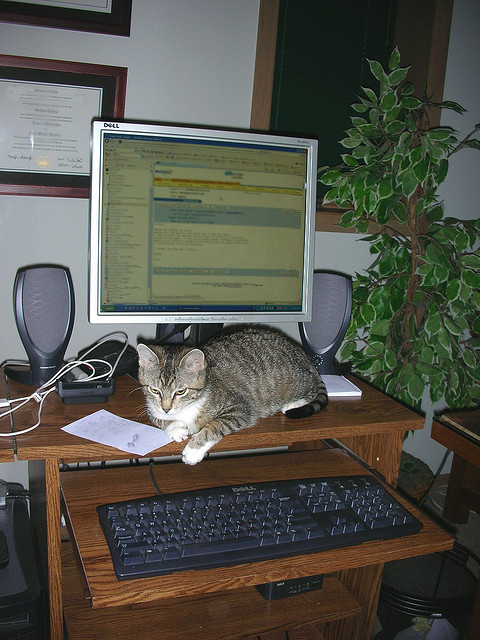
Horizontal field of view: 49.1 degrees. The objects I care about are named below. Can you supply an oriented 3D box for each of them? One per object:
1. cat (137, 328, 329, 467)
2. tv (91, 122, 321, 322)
[{"bbox_3d":[0.002,0.108,1.241,0.296,0.242,0.510,15,27,40],"label":"cat"},{"bbox_3d":[-0.088,-0.210,1.121,0.479,0.359,0.042,0,13,-16],"label":"tv"}]
